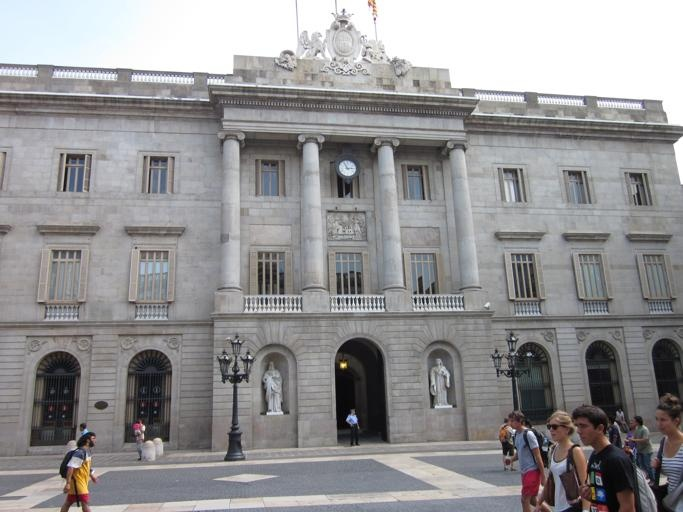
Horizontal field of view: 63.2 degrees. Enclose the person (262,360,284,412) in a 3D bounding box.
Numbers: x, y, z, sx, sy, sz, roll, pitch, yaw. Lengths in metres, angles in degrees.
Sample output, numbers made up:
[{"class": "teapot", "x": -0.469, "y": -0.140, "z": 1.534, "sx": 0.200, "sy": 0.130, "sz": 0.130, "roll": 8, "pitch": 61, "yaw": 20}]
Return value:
[{"class": "person", "x": -3.628, "y": 6.988, "z": 29.415, "sx": 1.120, "sy": 2.700, "sz": 0.552, "roll": -1, "pitch": -12, "yaw": -5}]
